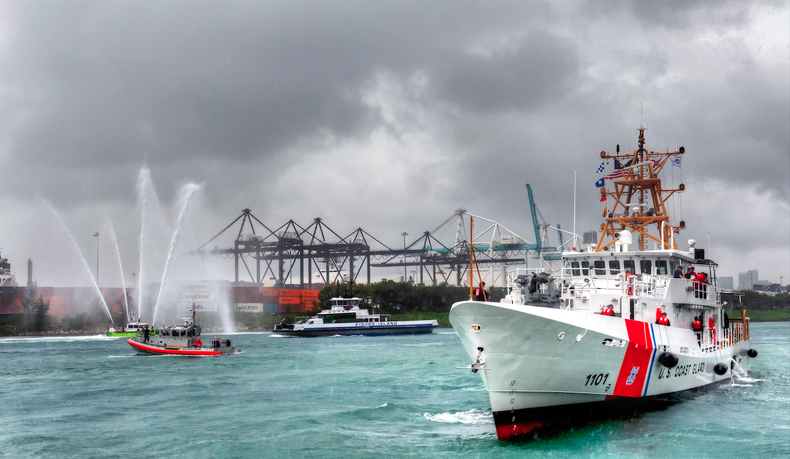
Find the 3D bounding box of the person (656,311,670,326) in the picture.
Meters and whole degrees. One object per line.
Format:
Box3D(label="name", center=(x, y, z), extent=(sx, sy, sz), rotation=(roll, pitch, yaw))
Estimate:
Box3D(label="person", center=(21.230, 7.043, 78.188), extent=(0.936, 1.219, 0.651), rotation=(-2, -6, 14))
